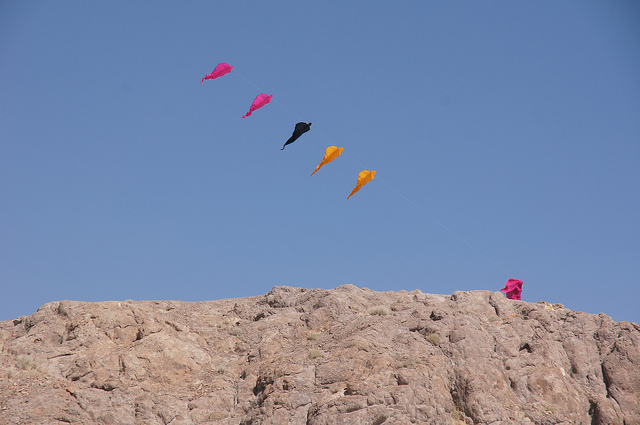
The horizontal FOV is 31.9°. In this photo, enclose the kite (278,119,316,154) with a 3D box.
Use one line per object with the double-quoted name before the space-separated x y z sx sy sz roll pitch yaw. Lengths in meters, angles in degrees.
"kite" -1.252 -4.141 62.722 0.827 1.657 1.376 34 -59 -27
